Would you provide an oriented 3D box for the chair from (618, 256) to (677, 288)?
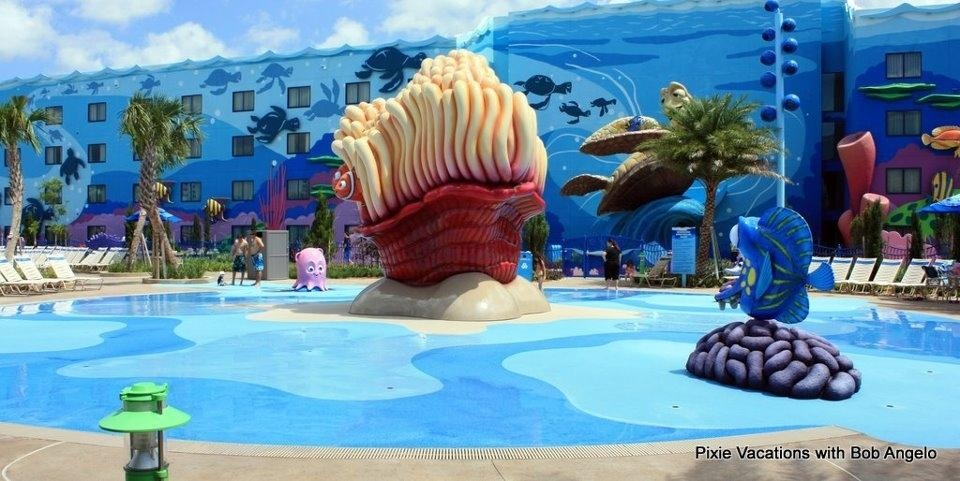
[{"bbox_3d":[8.986,1.696,39.312,2.831,1.293,1.467,-1,1,-10],"label":"chair"}]
